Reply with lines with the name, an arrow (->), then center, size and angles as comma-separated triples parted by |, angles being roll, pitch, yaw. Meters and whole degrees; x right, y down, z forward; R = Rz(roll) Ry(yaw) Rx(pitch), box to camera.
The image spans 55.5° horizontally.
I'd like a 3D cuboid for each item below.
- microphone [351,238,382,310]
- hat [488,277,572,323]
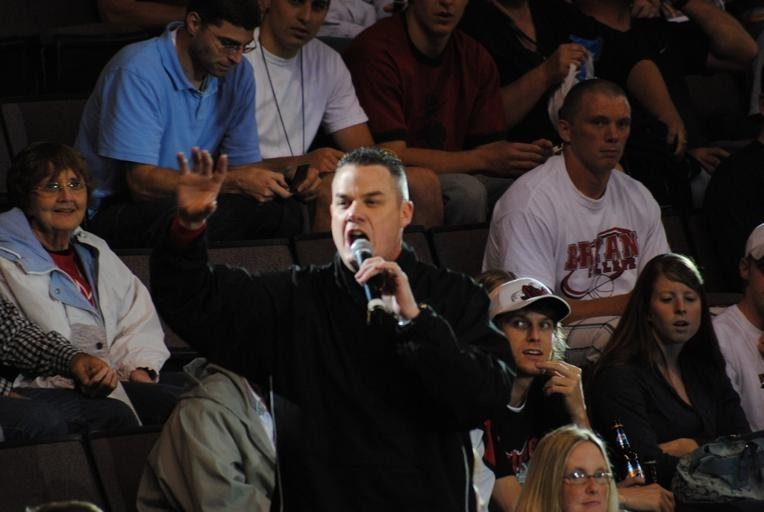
microphone -> -0.047, 0.049, 2.034 | 0.083, 0.199, 0.229 | -1, 2, -2
hat -> 0.595, 0.139, 3.055 | 0.300, 0.140, 0.420 | -12, 18, 3
